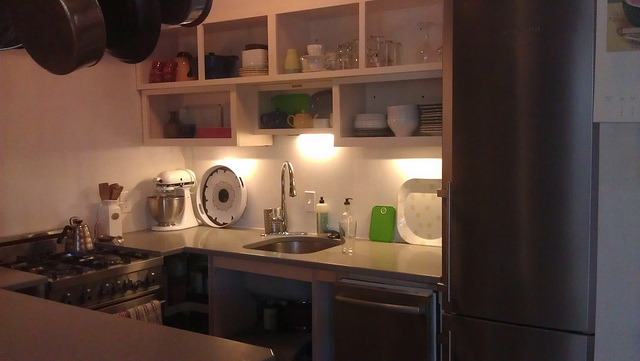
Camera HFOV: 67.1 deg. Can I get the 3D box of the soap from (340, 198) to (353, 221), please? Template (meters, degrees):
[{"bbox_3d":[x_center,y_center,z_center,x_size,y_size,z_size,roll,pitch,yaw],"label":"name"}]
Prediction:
[{"bbox_3d":[0.209,0.240,3.864,0.103,0.174,0.243,-1,6,3],"label":"soap"}]

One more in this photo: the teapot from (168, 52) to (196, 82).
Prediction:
[{"bbox_3d":[-1.147,-0.967,4.109,0.116,0.247,0.188,-6,7,-41],"label":"teapot"}]

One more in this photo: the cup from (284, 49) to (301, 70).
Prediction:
[{"bbox_3d":[-0.219,-0.935,3.739,0.146,0.155,0.145,-2,5,0],"label":"cup"}]

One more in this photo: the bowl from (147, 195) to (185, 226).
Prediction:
[{"bbox_3d":[-1.337,0.244,4.188,0.274,0.215,0.278,0,5,0],"label":"bowl"}]

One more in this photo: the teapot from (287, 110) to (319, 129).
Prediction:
[{"bbox_3d":[-0.142,-0.485,3.808,0.200,0.107,0.133,3,6,19],"label":"teapot"}]

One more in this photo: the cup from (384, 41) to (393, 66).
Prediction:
[{"bbox_3d":[0.496,-0.918,3.503,0.062,0.174,0.038,-1,5,2],"label":"cup"}]

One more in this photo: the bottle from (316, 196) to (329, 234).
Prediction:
[{"bbox_3d":[0.022,0.315,3.985,0.104,0.247,0.071,-1,5,-4],"label":"bottle"}]

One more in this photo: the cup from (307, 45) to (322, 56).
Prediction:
[{"bbox_3d":[-0.048,-0.988,3.671,0.087,0.064,0.083,0,9,0],"label":"cup"}]

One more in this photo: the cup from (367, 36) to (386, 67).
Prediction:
[{"bbox_3d":[0.408,-0.939,3.528,0.124,0.223,0.071,0,6,10],"label":"cup"}]

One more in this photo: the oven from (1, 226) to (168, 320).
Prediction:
[{"bbox_3d":[-1.736,0.669,3.523,0.864,0.507,0.819,2,3,28],"label":"oven"}]

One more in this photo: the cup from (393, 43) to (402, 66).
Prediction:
[{"bbox_3d":[0.561,-0.919,3.519,0.057,0.163,0.087,1,6,19],"label":"cup"}]

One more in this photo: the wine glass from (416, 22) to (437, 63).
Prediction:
[{"bbox_3d":[0.771,-0.992,3.491,0.144,0.321,0.347,0,6,13],"label":"wine glass"}]

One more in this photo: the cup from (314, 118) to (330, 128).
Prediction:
[{"bbox_3d":[0.015,-0.448,3.780,0.083,0.059,0.082,1,8,0],"label":"cup"}]

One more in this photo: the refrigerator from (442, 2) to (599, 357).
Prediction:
[{"bbox_3d":[1.146,0.016,2.789,0.799,2.104,0.262,2,6,29],"label":"refrigerator"}]

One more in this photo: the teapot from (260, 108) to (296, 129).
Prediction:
[{"bbox_3d":[-0.349,-0.502,3.933,0.234,0.124,0.146,-1,7,14],"label":"teapot"}]

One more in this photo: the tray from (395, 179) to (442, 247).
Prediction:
[{"bbox_3d":[0.758,0.237,3.711,0.144,0.493,0.330,-5,1,-44],"label":"tray"}]
